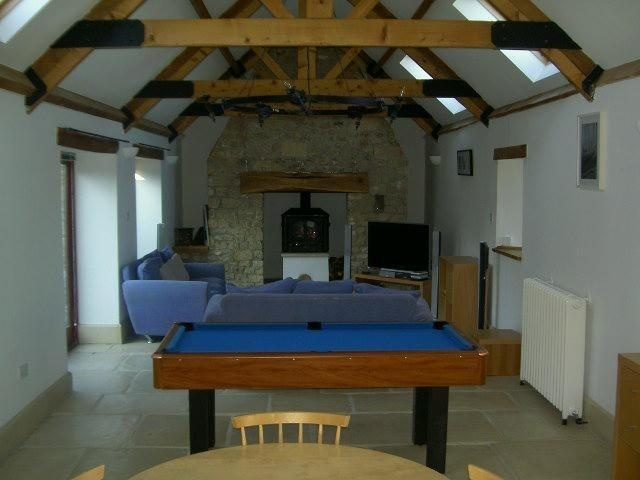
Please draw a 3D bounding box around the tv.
[{"bbox_3d":[1.432,0.162,9.452,0.947,0.688,0.104,1,0,37],"label":"tv"}]
